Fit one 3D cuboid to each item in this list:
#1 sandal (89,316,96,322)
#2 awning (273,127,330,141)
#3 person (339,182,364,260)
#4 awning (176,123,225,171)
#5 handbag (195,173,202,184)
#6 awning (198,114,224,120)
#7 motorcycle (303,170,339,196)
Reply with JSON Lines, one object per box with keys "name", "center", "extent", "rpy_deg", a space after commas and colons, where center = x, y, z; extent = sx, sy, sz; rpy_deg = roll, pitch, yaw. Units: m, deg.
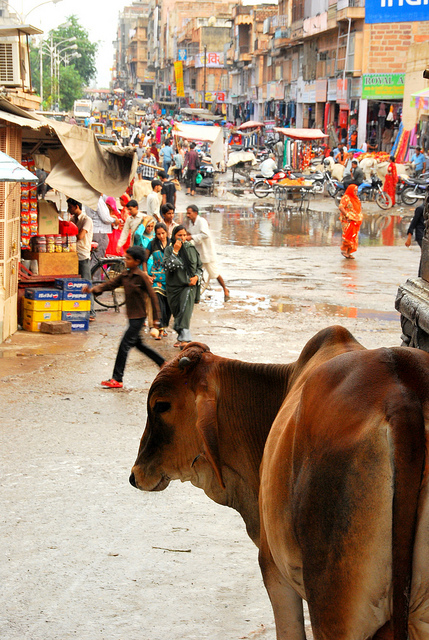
{"name": "sandal", "center": [-1.901, -0.006, 10.425], "extent": [0.076, 0.063, 0.206], "rpy_deg": [-2, 12, -1]}
{"name": "awning", "center": [3.900, -8.693, 31.082], "extent": [2.299, 0.476, 1.789], "rpy_deg": [-3, 12, -5]}
{"name": "person", "center": [3.295, -2.374, 16.188], "extent": [0.525, 1.805, 1.239], "rpy_deg": [1, 13, 11]}
{"name": "awning", "center": [-0.481, -7.131, 26.072], "extent": [2.169, 1.366, 1.389], "rpy_deg": [8, 6, 15]}
{"name": "handbag", "center": [-0.690, -6.384, 30.027], "extent": [0.365, 0.470, 0.256], "rpy_deg": [-6, 13, -19]}
{"name": "awning", "center": [-0.197, -14.673, 48.138], "extent": [1.356, 0.398, 2.473], "rpy_deg": [0, 12, 10]}
{"name": "motorcycle", "center": [4.646, -6.046, 28.879], "extent": [1.510, 0.959, 0.863], "rpy_deg": [19, 7, 18]}
